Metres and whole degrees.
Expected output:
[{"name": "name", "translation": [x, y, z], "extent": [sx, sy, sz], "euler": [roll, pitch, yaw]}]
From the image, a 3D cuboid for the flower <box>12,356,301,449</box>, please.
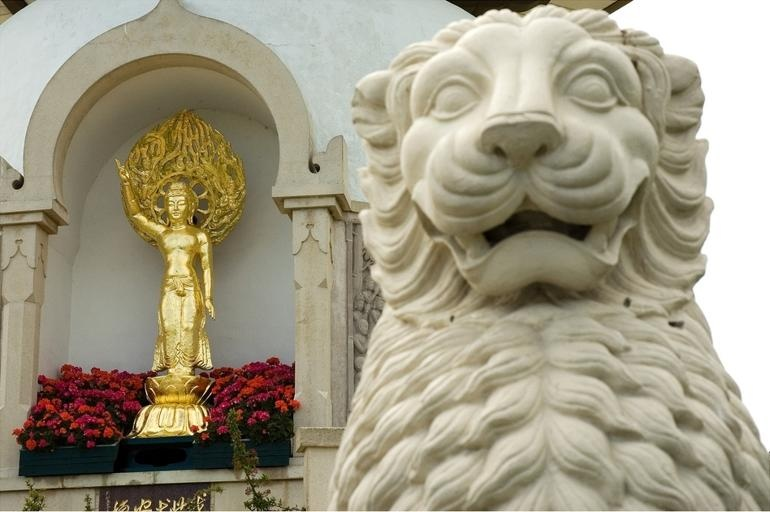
[{"name": "flower", "translation": [-2.273, 1.459, 21.285], "extent": [2.759, 1.120, 0.915], "euler": [-1, -23, 2]}]
